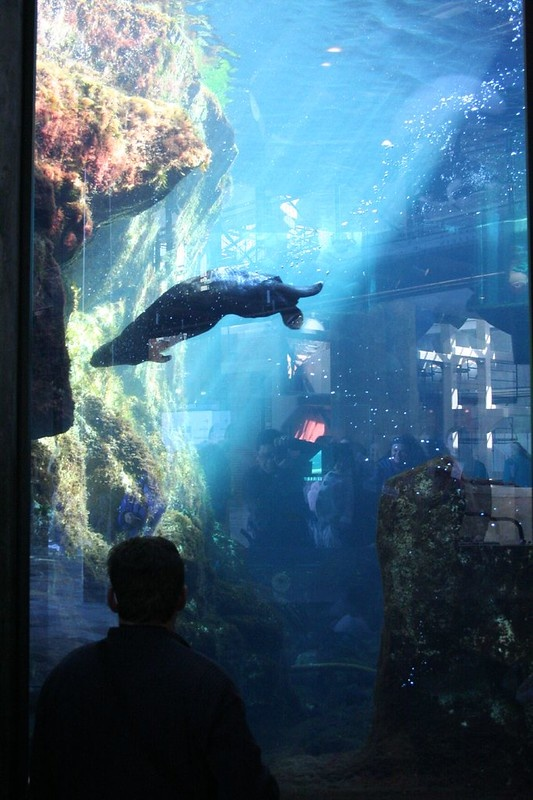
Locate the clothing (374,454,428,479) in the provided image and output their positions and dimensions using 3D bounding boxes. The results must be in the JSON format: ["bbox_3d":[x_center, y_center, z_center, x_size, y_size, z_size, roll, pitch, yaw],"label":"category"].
[{"bbox_3d":[0.964,0.488,6.878,0.238,0.103,0.185,-17,-3,-18],"label":"clothing"}]

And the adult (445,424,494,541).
[{"bbox_3d":[1.357,0.600,6.279,0.300,0.843,0.268,-14,-29,39],"label":"adult"}]

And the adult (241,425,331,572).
[{"bbox_3d":[0.184,0.817,8.600,0.809,1.179,0.796,8,-3,-9],"label":"adult"}]
